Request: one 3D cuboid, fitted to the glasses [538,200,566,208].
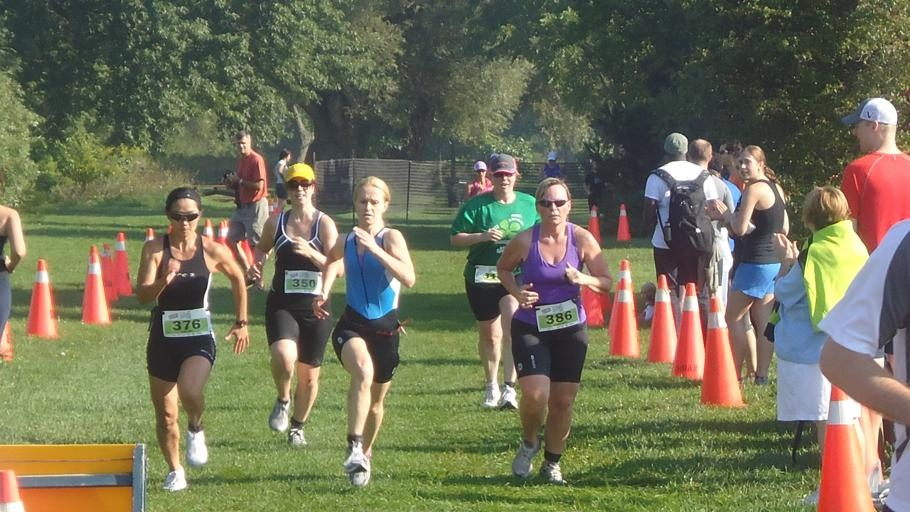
[{"bbox_3d":[2.120,-1.180,30.839,0.591,0.173,0.072,1,1,4],"label":"glasses"}]

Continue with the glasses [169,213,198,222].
[{"bbox_3d":[-5.773,-0.872,30.682,0.579,0.176,0.091,0,1,-12],"label":"glasses"}]

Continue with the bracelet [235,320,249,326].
[{"bbox_3d":[-4.663,1.440,31.415,0.223,0.126,0.212,1,-2,-22],"label":"bracelet"}]

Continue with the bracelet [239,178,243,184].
[{"bbox_3d":[-5.958,-2.148,40.033,0.132,0.124,0.032,-2,-28,1],"label":"bracelet"}]
